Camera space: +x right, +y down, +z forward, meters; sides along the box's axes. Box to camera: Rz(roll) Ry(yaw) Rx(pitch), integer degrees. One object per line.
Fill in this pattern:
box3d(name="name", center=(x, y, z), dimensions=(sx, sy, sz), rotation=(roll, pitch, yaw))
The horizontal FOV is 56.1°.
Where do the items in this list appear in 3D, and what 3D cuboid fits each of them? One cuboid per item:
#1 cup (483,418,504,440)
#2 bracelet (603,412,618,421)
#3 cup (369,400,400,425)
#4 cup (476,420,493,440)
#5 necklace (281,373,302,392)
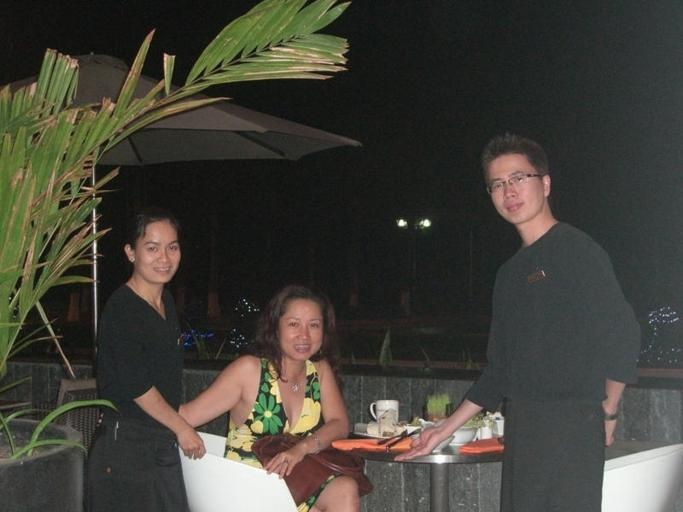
box3d(name="cup", center=(0.892, 0.987, 3.733), dimensions=(0.119, 0.133, 0.123), rotation=(-1, -1, 0))
box3d(name="bracelet", center=(1.189, 0.710, 2.839), dimensions=(0.058, 0.027, 0.068), rotation=(-1, -8, 0))
box3d(name="cup", center=(0.243, 0.927, 3.829), dimensions=(0.186, 0.168, 0.131), rotation=(-6, -9, 40))
box3d(name="cup", center=(0.829, 0.999, 3.687), dimensions=(0.102, 0.119, 0.100), rotation=(0, -7, 0))
box3d(name="necklace", center=(-0.268, 0.687, 3.475), dimensions=(0.090, 0.092, 0.020), rotation=(3, -3, -44))
